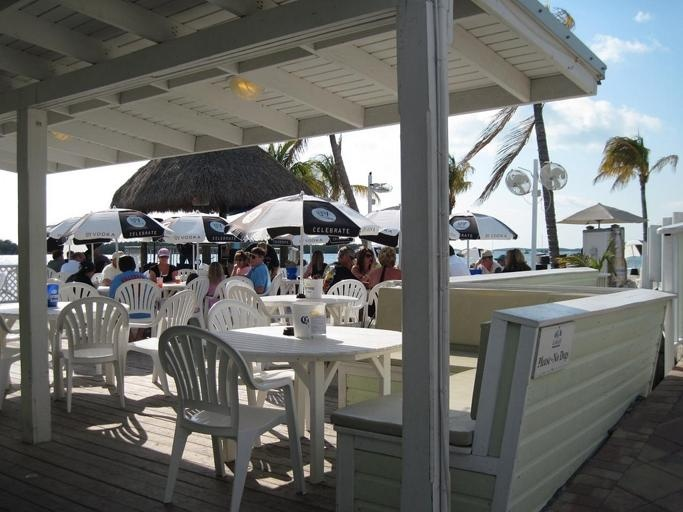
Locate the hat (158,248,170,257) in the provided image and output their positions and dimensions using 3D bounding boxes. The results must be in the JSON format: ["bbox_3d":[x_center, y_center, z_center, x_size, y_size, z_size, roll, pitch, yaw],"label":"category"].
[{"bbox_3d":[-3.543,-0.080,10.801,0.163,0.140,0.231,5,-19,-21],"label":"hat"}]

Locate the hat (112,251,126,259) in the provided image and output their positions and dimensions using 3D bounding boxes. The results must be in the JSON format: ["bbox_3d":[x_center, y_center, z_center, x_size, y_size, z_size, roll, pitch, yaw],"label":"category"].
[{"bbox_3d":[-4.534,-0.032,11.024,0.224,0.099,0.301,-8,-3,-39],"label":"hat"}]

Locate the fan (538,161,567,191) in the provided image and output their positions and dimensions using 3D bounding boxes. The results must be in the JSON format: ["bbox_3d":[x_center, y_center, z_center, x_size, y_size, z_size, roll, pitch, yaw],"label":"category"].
[{"bbox_3d":[4.101,-1.558,10.536,0.500,0.539,0.328,0,2,22],"label":"fan"}]

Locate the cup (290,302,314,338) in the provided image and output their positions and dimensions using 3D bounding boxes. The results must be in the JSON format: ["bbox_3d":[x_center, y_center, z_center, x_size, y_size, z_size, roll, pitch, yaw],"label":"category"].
[{"bbox_3d":[-0.329,0.485,4.161,0.195,0.248,0.216,1,-3,-36],"label":"cup"}]

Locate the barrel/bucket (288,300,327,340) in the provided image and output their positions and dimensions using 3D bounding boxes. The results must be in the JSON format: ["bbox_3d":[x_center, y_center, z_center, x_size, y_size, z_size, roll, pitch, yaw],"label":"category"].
[{"bbox_3d":[-0.252,0.485,4.147,0.247,0.260,0.181,-1,2,-4],"label":"barrel/bucket"}]

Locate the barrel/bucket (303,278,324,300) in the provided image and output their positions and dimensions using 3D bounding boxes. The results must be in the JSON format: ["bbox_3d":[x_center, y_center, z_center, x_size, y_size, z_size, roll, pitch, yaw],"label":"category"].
[{"bbox_3d":[-0.314,0.358,5.978,0.190,0.164,0.212,0,-2,0],"label":"barrel/bucket"}]

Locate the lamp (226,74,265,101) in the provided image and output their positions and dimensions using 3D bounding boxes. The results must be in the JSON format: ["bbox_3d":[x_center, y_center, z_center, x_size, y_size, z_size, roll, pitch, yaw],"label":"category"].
[{"bbox_3d":[-0.921,-1.617,5.196,0.340,0.157,0.399,-1,2,-12],"label":"lamp"}]

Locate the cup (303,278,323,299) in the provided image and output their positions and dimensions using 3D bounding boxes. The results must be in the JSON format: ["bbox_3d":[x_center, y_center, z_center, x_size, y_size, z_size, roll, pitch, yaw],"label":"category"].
[{"bbox_3d":[-0.327,0.354,5.983,0.183,0.164,0.206,0,-2,1],"label":"cup"}]

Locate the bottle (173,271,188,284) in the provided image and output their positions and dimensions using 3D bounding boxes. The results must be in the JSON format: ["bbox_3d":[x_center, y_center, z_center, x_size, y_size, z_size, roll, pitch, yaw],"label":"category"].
[{"bbox_3d":[-3.388,0.449,11.338,0.200,0.181,0.224,2,-6,-29],"label":"bottle"}]

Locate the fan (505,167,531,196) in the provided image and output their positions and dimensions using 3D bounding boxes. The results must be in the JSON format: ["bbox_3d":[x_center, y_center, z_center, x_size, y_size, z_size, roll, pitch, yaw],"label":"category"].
[{"bbox_3d":[3.560,-1.512,11.015,0.483,0.538,0.360,0,2,17],"label":"fan"}]

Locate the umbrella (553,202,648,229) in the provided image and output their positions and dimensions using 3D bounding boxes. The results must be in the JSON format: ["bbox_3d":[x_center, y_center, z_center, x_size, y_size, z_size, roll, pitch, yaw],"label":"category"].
[{"bbox_3d":[7.299,-1.117,15.674,1.658,0.754,1.721,-2,0,43],"label":"umbrella"}]
